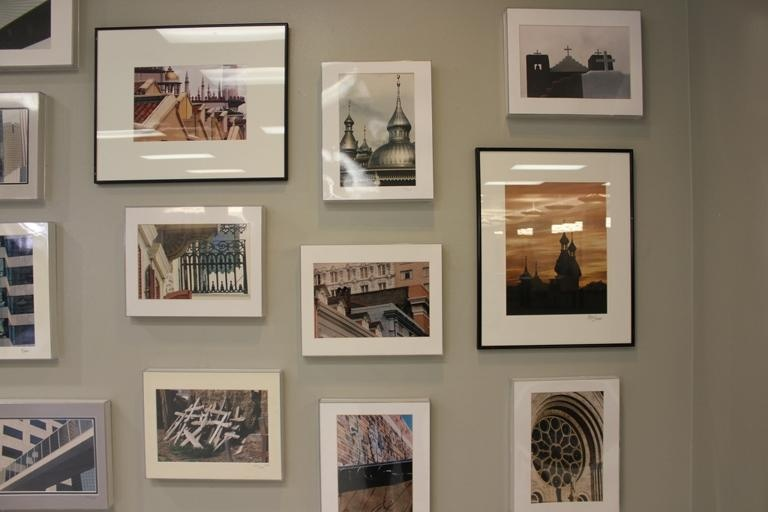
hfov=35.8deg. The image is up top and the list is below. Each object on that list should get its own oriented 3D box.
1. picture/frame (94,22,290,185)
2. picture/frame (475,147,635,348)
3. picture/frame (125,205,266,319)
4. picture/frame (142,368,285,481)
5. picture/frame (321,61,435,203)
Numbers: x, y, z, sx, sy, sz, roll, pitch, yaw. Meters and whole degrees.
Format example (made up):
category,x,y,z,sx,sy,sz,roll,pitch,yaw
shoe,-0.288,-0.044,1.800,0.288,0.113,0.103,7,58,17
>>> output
category,x,y,z,sx,sy,sz,roll,pitch,yaw
picture/frame,-0.632,-0.505,3.962,0.472,0.395,0.008,0,2,5
picture/frame,0.573,-0.031,3.982,0.526,0.739,0.028,0,-24,8
picture/frame,-0.636,0.017,3.952,0.319,0.291,0.026,0,1,1
picture/frame,-0.566,0.560,3.961,0.321,0.279,0.034,-1,1,3
picture/frame,-0.030,-0.412,3.951,0.403,0.550,0.019,0,-4,-2
